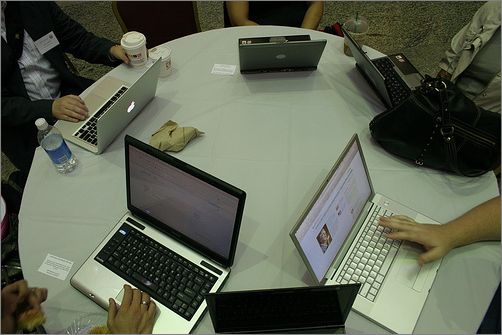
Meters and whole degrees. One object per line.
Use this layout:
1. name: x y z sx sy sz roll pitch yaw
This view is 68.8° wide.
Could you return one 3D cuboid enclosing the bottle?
1. bottle: -1.081 -0.131 2.003 0.129 0.259 0.262 -35 61 -22
